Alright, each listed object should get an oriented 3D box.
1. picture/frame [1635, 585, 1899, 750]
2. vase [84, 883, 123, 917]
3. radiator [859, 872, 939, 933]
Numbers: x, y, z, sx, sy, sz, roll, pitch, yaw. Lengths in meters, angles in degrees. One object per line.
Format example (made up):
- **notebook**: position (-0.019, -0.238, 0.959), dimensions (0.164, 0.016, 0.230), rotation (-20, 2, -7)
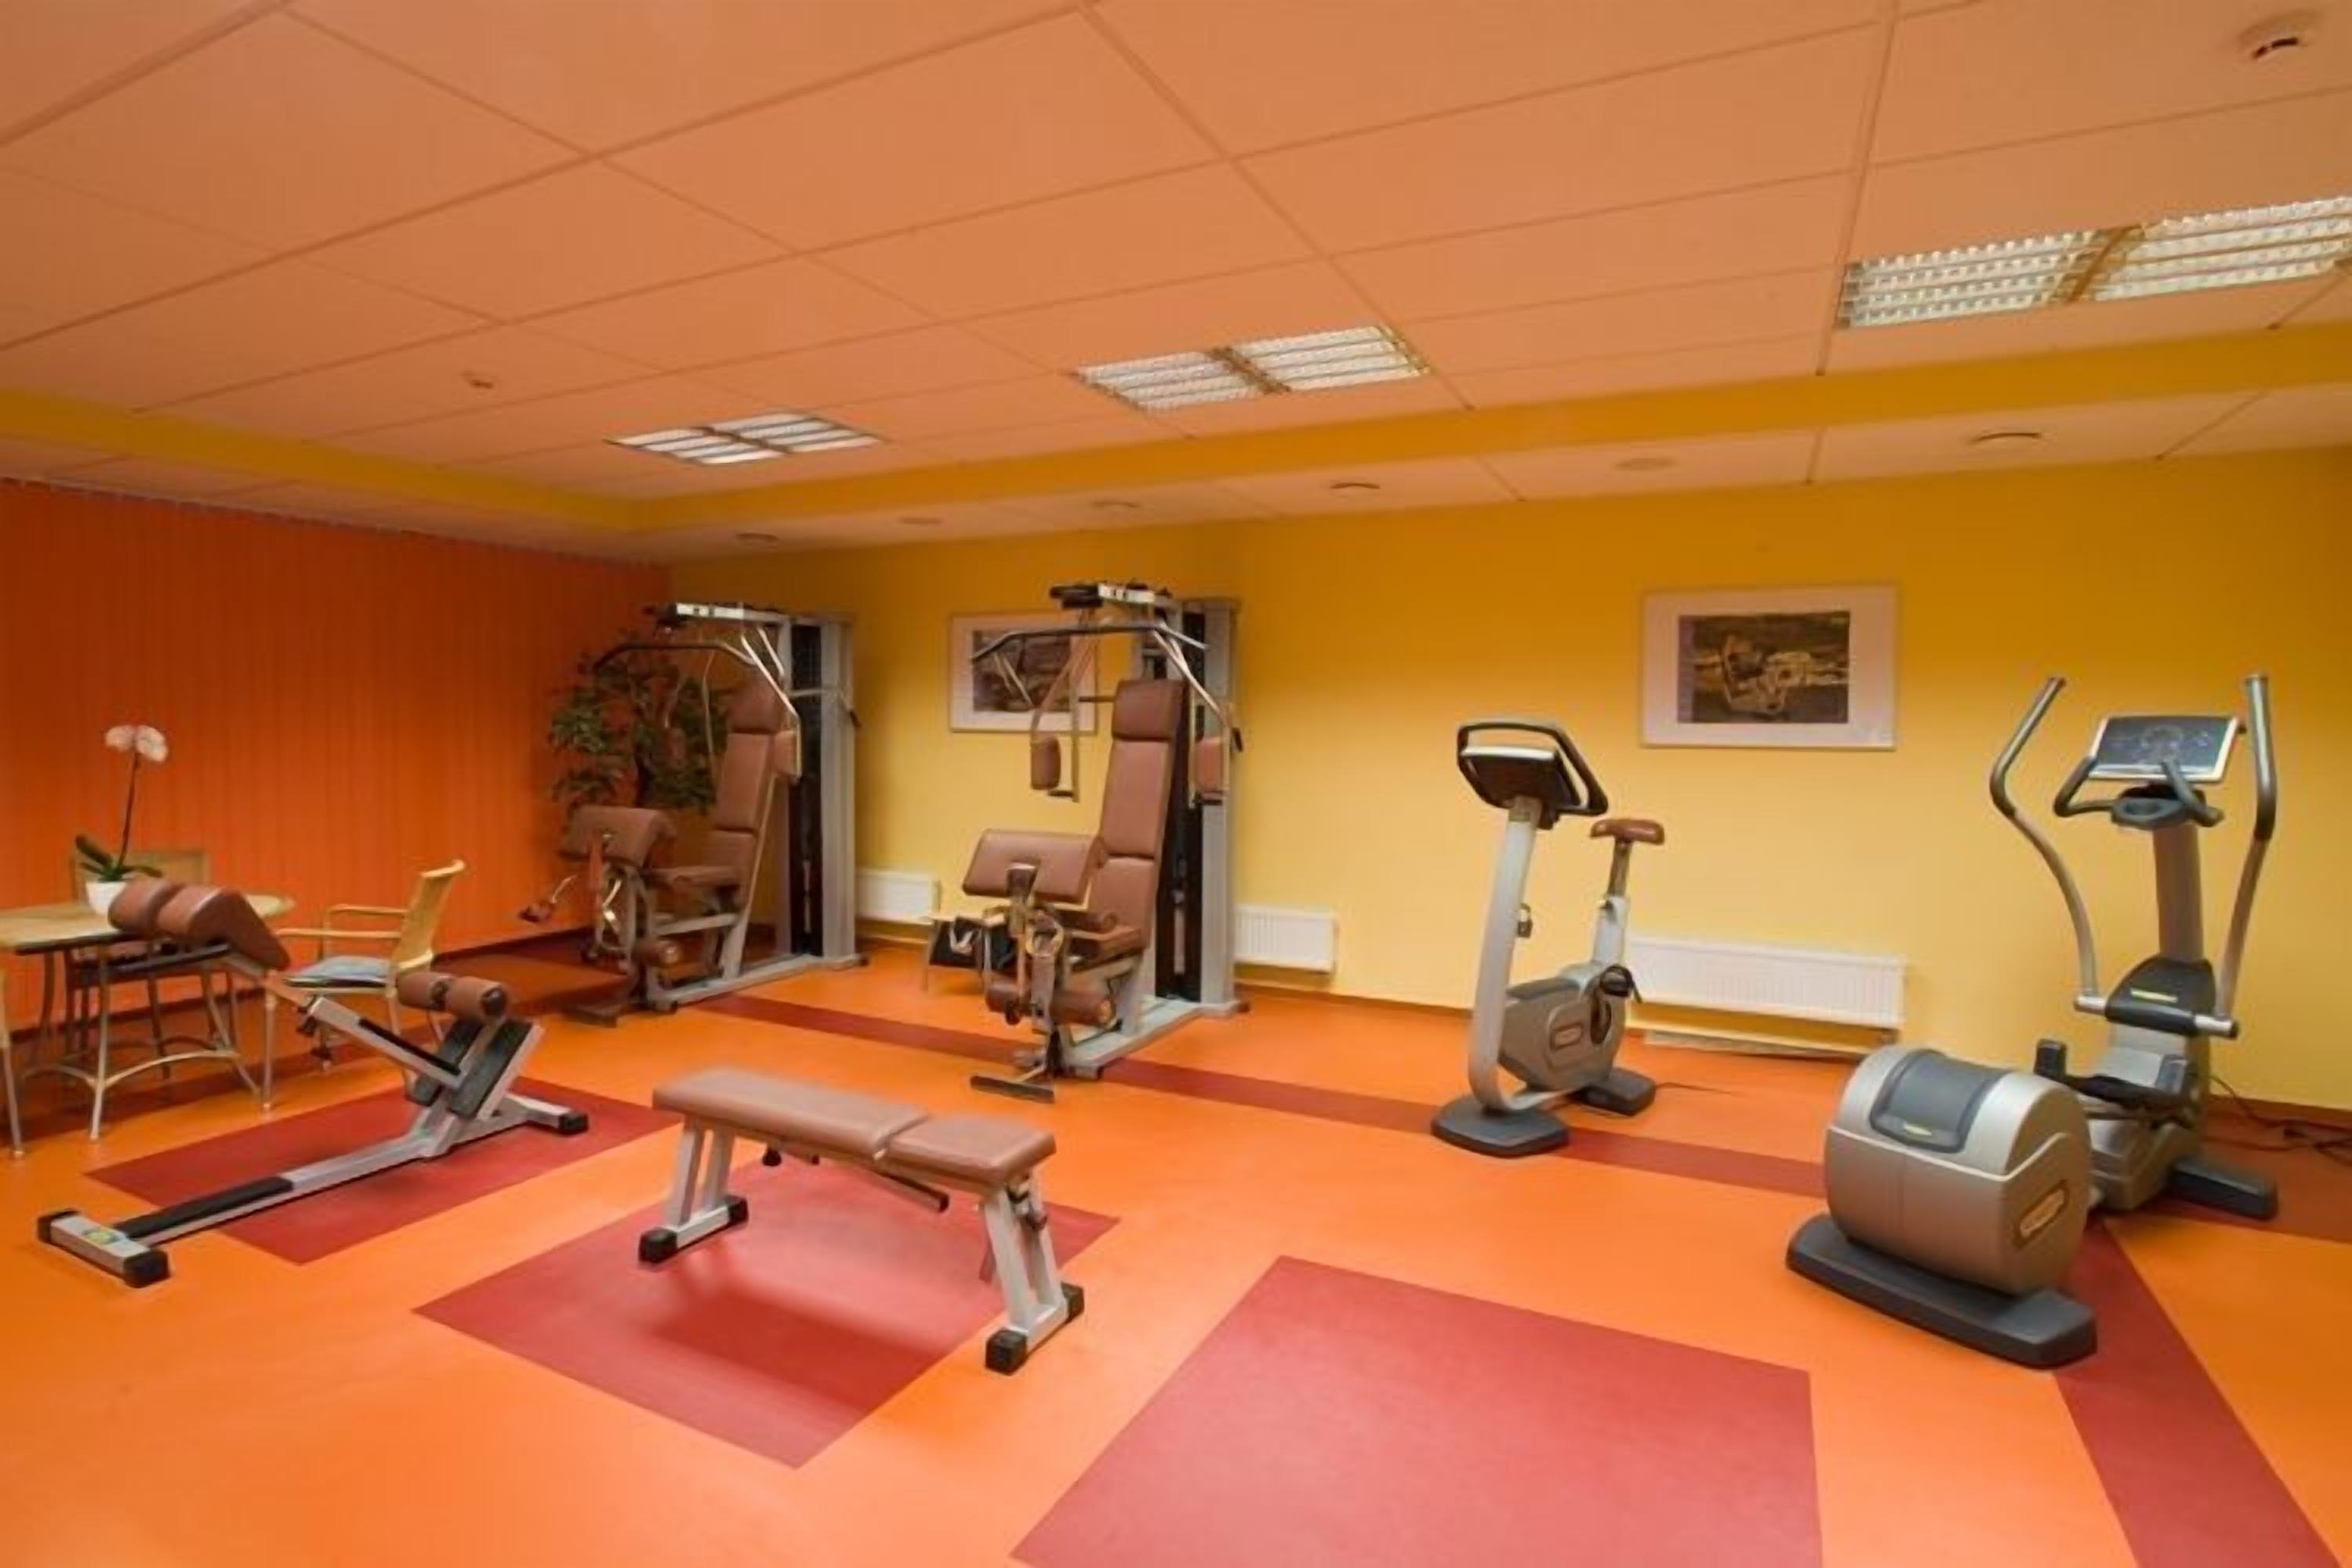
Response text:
- **picture/frame**: position (3.009, -0.588, 7.419), dimensions (0.934, 0.604, 0.032), rotation (1, 5, 25)
- **vase**: position (-4.589, 0.494, 6.354), dimensions (0.172, 0.115, 0.162), rotation (2, -2, -9)
- **radiator**: position (-1.790, 0.723, 9.678), dimensions (0.615, 0.302, 0.148), rotation (6, 10, 35)
